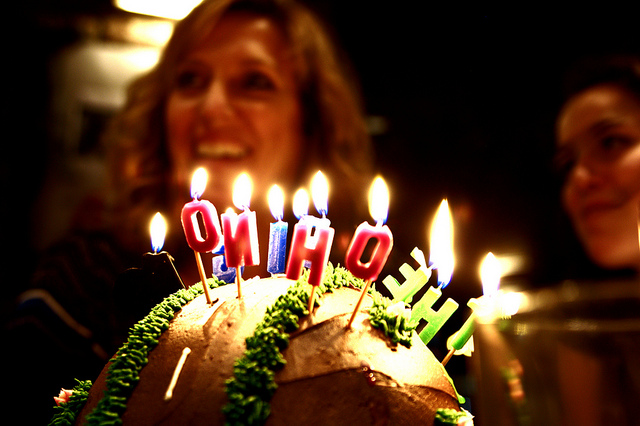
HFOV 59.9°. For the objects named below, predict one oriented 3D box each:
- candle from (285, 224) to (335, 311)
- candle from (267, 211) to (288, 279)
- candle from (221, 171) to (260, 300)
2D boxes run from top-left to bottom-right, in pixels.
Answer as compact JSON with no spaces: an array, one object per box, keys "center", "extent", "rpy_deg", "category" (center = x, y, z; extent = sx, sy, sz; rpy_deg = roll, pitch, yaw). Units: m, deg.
[{"center":[-0.061,0.268,3.303],"extent":[0.268,0.532,0.243],"rpy_deg":[-8,23,-11],"category":"candle"},{"center":[-0.270,0.218,3.502],"extent":[0.155,0.418,0.157],"rpy_deg":[4,-15,-9],"category":"candle"},{"center":[-0.478,0.188,3.356],"extent":[0.193,0.743,0.104],"rpy_deg":[-4,-3,16],"category":"candle"}]
